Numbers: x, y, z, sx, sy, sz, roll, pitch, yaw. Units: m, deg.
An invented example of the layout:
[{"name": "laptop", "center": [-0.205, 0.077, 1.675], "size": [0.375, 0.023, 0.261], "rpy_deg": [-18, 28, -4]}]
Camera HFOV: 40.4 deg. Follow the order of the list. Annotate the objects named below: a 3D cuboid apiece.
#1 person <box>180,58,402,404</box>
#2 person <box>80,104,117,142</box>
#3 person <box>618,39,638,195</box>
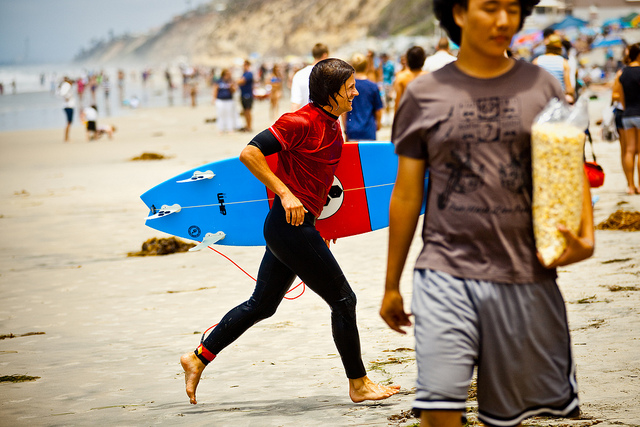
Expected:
[{"name": "person", "center": [-0.219, 0.140, 6.230], "size": [1.378, 2.412, 0.774], "rpy_deg": [-5, 15, 3]}, {"name": "person", "center": [-5.290, -2.133, 20.627], "size": [0.563, 0.813, 1.625], "rpy_deg": [-8, 13, -8]}, {"name": "person", "center": [3.587, -1.082, 10.124], "size": [0.216, 1.756, 0.566], "rpy_deg": [-1, 16, 19]}]
